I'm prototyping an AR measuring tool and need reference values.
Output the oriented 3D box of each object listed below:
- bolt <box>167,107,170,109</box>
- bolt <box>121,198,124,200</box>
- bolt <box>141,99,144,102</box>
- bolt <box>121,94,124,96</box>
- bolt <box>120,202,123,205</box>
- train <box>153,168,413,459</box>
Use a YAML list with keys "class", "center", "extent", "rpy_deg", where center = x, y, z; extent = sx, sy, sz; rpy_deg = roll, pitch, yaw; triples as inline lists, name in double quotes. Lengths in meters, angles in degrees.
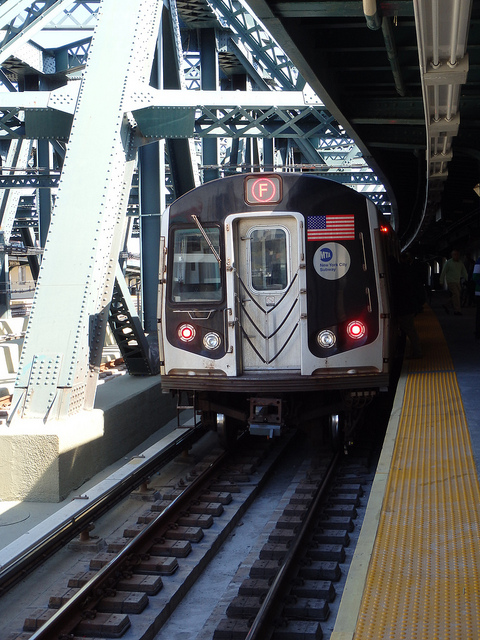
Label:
- class: "bolt"
  center: [-1.205, -3.553, 9.116]
  extent: [0.052, 0.052, 0.012]
  rpy_deg: [5, 0, -8]
- class: "bolt"
  center: [-1.929, -1.990, 8.923]
  extent: [0.043, 0.039, 0.011]
  rpy_deg: [-3, -2, -10]
- class: "bolt"
  center: [-1.587, -3.568, 8.857]
  extent: [0.041, 0.042, 0.004]
  rpy_deg: [-3, 3, -11]
- class: "bolt"
  center: [-1.886, -3.616, 8.732]
  extent: [0.038, 0.009, 0.034]
  rpy_deg: [2, 1, -21]
- class: "bolt"
  center: [-1.942, -1.902, 8.884]
  extent: [0.061, 0.028, 0.104]
  rpy_deg: [0, -2, -5]
- class: "train"
  center: [1.114, -0.236, 10.723]
  extent: [3.211, 3.544, 7.708]
  rpy_deg: [-2, 1, 12]
